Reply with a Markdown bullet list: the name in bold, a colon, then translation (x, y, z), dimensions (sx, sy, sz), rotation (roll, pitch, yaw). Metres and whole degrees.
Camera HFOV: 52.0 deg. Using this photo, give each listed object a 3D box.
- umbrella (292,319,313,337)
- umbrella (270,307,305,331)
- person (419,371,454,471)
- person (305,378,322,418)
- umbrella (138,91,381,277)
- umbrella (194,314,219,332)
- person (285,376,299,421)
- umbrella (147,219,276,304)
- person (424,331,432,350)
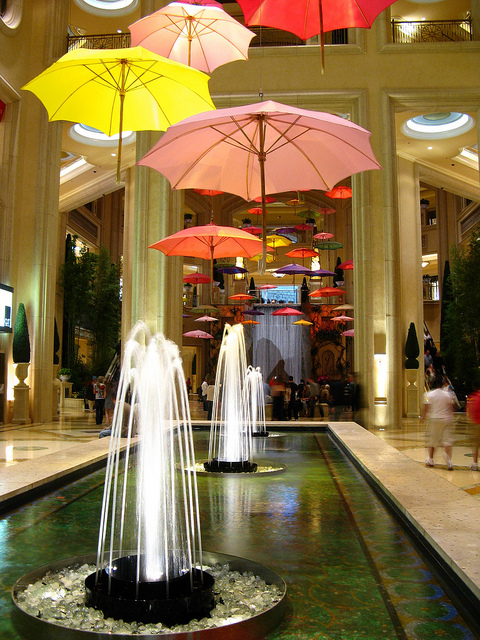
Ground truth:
- **umbrella**: translation (2.705, 0.385, 21.879), dimensions (0.562, 0.628, 0.611), rotation (-2, -15, 0)
- **umbrella**: translation (1.930, -0.039, 21.264), dimensions (0.848, 0.706, 0.905), rotation (-1, -6, -4)
- **person**: translation (2.574, 1.355, 6.463), dimensions (0.402, 1.178, 0.913), rotation (2, -6, 21)
- **person**: translation (2.209, 2.461, 15.352), dimensions (0.395, 1.162, 1.021), rotation (3, -5, 8)
- **umbrella**: translation (0.176, -1.462, 5.445), dimensions (2.210, 1.307, 2.746), rotation (10, -8, -44)
- **umbrella**: translation (-1.557, 0.177, 22.411), dimensions (0.646, 0.567, 0.631), rotation (-1, -9, 4)
- **person**: translation (1.473, 2.356, 14.539), dimensions (0.420, 1.073, 1.550), rotation (4, -6, 6)
- **umbrella**: translation (-0.585, -1.126, 9.865), dimensions (2.119, 1.715, 2.340), rotation (-3, 1, 37)
- **person**: translation (6.721, 0.741, 17.749), dimensions (0.265, 0.768, 1.388), rotation (2, -6, 21)
